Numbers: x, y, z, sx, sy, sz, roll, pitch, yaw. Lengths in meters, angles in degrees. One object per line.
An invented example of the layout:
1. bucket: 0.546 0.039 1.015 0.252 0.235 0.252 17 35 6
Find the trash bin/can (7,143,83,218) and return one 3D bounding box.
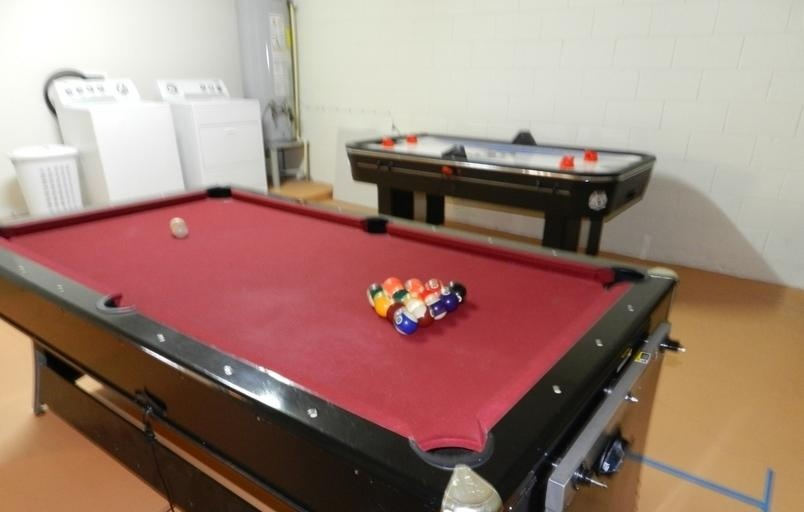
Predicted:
1. trash bin/can: -2.781 -0.593 4.148 0.591 0.672 0.428 -13 25 -35

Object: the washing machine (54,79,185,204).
1. washing machine: -2.399 -0.936 4.455 0.723 1.283 0.891 16 28 31

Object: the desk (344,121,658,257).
1. desk: 0.630 -0.349 4.200 2.043 1.148 1.103 13 21 30
